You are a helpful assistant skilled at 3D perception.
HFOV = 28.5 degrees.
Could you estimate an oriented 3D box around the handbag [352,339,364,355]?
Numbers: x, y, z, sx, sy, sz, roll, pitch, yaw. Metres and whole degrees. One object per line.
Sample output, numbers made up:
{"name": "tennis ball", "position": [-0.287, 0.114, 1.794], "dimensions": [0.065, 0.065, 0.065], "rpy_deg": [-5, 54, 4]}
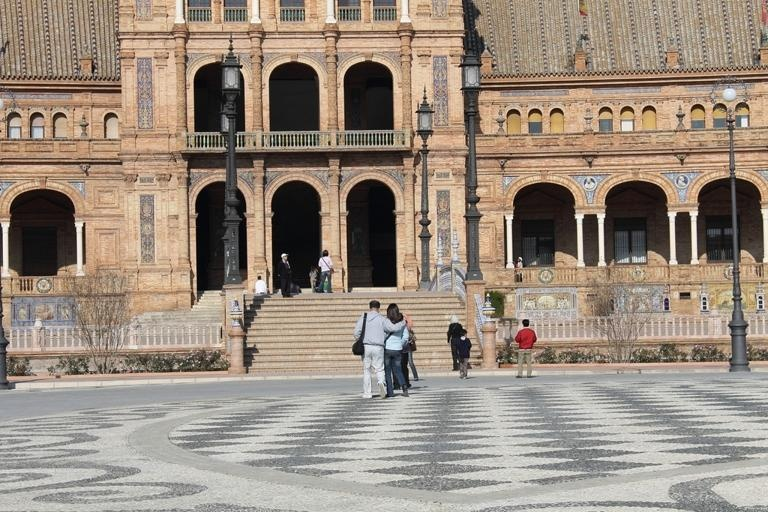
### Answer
{"name": "handbag", "position": [-0.823, 2.767, 47.346], "dimensions": [0.267, 0.469, 0.724], "rpy_deg": [-1, -2, -16]}
